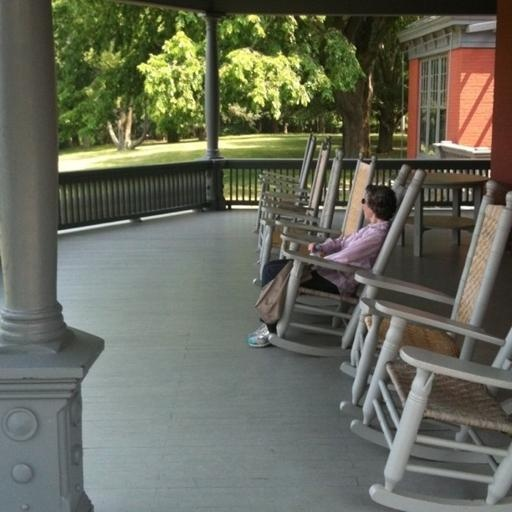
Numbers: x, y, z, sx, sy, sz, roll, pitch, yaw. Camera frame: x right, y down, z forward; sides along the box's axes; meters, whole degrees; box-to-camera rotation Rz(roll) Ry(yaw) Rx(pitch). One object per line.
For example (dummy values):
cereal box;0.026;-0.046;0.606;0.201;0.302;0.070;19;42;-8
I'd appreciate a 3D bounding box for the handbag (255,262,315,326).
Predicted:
handbag;0.134;0.214;3.225;0.124;0.371;0.236;33;3;12
